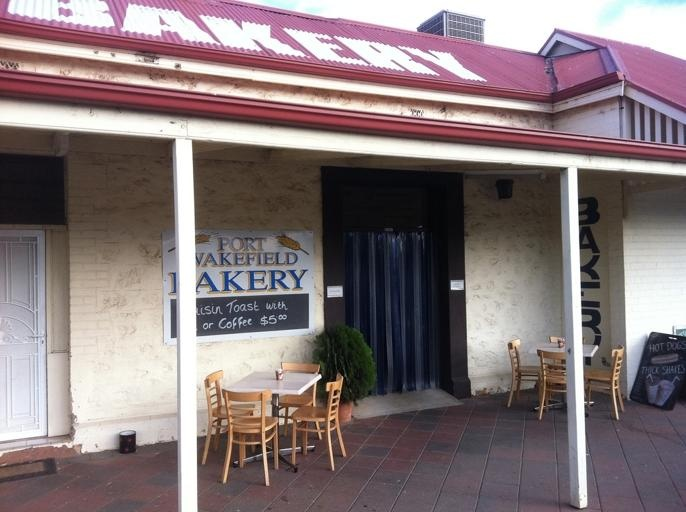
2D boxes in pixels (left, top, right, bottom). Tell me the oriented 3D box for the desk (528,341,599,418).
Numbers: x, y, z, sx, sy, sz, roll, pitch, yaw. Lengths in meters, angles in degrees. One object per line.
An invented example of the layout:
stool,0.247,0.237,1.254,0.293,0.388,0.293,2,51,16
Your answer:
desk,3.400,1.913,8.736,0.888,1.026,0.923,-4,3,-44

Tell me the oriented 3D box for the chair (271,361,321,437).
chair,-0.668,1.976,7.725,0.732,0.889,0.675,-1,1,-3

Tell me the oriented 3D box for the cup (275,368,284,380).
cup,-0.803,1.523,7.296,0.132,0.116,0.118,1,-14,-2

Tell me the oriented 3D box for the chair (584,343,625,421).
chair,4.017,1.922,8.752,0.767,0.910,0.734,1,-1,1

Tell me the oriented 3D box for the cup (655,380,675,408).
cup,4.993,2.146,8.759,0.233,0.357,0.313,4,9,29

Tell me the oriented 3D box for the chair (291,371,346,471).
chair,-0.301,2.109,7.279,0.798,0.963,0.800,-2,-6,40

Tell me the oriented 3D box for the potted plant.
potted plant,-0.039,1.601,8.084,1.126,1.349,1.129,-1,-6,17

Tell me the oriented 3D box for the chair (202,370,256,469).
chair,-1.475,2.090,7.359,0.838,1.001,0.829,-2,-4,40
